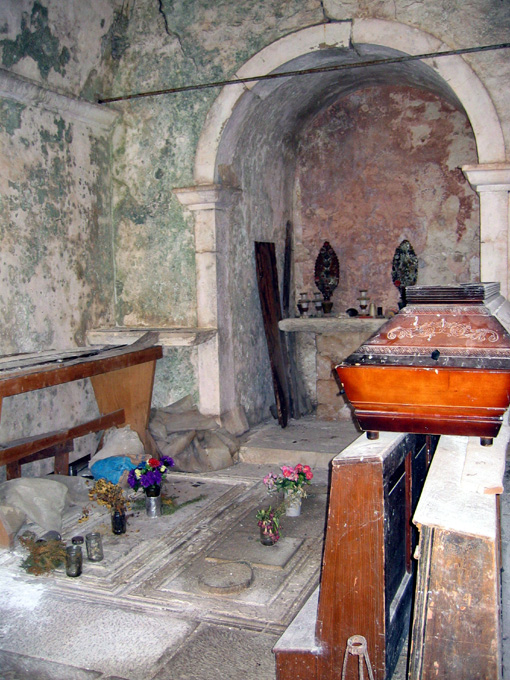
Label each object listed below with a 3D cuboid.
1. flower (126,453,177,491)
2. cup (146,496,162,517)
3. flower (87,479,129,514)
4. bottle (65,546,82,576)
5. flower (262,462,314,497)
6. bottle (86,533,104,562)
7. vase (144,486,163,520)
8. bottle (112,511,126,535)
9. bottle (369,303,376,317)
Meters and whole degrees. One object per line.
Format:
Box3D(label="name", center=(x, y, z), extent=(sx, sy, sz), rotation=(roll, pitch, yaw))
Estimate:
Box3D(label="flower", center=(-0.851, 1.008, 3.938), extent=(0.333, 0.328, 0.339), rotation=(-3, 11, 7))
Box3D(label="cup", center=(-0.777, 1.260, 3.902), extent=(0.138, 0.160, 0.145), rotation=(2, 7, 0))
Box3D(label="flower", center=(-1.108, 1.165, 3.786), extent=(0.206, 0.179, 0.555), rotation=(-3, 4, -28))
Box3D(label="bottle", center=(-1.112, 1.324, 3.061), extent=(0.100, 0.160, 0.178), rotation=(-3, 3, -22))
Box3D(label="flower", center=(0.266, 1.124, 3.917), extent=(0.399, 0.291, 0.378), rotation=(-1, 10, 11))
Box3D(label="bottle", center=(-1.046, 1.308, 3.256), extent=(0.107, 0.165, 0.194), rotation=(-3, 3, -19))
Box3D(label="vase", center=(-0.785, 1.219, 3.846), extent=(0.113, 0.253, 0.094), rotation=(-3, 3, -15))
Box3D(label="bottle", center=(-0.985, 1.282, 3.613), extent=(0.106, 0.172, 0.145), rotation=(-3, 3, -16))
Box3D(label="bottle", center=(1.426, -0.372, 6.146), extent=(0.081, 0.170, 0.243), rotation=(-1, 3, 13))
